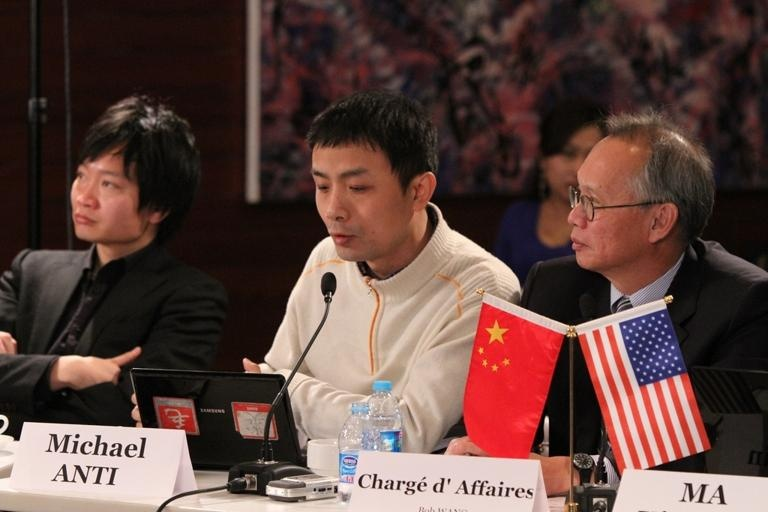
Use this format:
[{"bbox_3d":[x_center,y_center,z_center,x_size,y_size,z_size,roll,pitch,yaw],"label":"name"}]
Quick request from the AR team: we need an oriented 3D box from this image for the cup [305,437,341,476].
[{"bbox_3d":[-0.188,0.619,2.672,0.098,0.071,0.097,2,-4,0],"label":"cup"}]

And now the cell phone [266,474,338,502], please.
[{"bbox_3d":[-0.234,0.665,2.505,0.128,0.036,0.095,1,-2,-37],"label":"cell phone"}]

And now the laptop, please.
[{"bbox_3d":[-0.533,0.414,2.636,0.436,0.261,0.357,0,-6,21],"label":"laptop"}]

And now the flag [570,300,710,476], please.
[{"bbox_3d":[0.746,0.380,2.474,0.380,0.604,0.032,-21,4,10],"label":"flag"}]

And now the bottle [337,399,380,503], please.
[{"bbox_3d":[-0.078,0.582,2.604,0.127,0.258,0.451,2,-4,-2],"label":"bottle"}]
